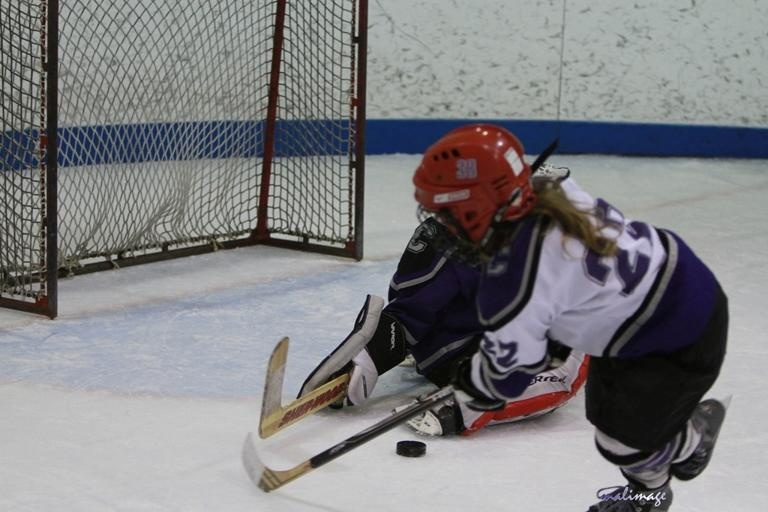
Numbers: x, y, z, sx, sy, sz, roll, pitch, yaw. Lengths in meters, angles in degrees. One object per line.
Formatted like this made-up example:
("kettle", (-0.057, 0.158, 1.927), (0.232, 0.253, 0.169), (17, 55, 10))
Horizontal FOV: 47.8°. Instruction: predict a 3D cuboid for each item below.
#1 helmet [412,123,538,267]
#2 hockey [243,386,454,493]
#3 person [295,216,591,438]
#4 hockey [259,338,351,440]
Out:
("helmet", (0.319, -0.225, 2.740), (0.464, 0.412, 0.333), (5, 37, 22))
("hockey", (-0.136, 0.678, 3.172), (0.996, 0.177, 0.097), (-17, 10, -13))
("person", (0.210, 0.367, 3.437), (1.373, 0.568, 0.849), (-10, 5, 8))
("hockey", (-0.284, 0.458, 3.340), (0.013, 0.387, 0.618), (18, 16, 25))
